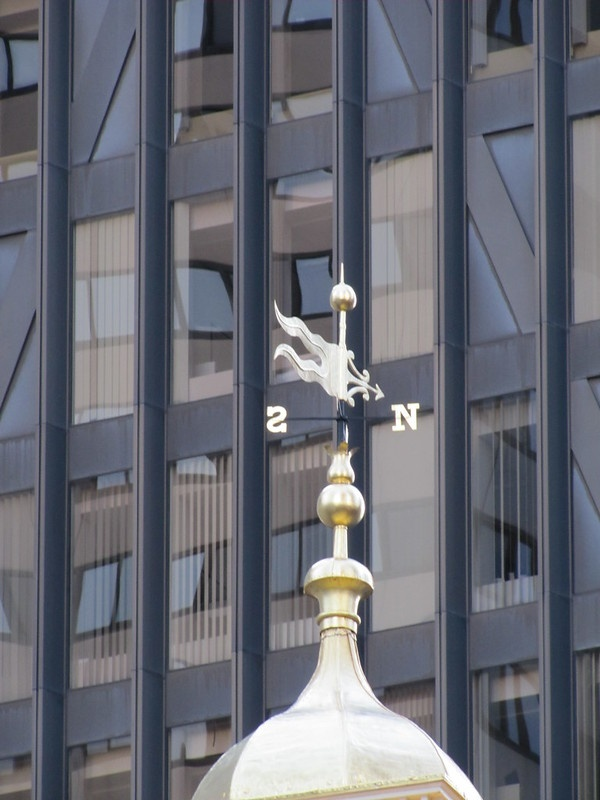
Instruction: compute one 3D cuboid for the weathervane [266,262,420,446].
[{"bbox_3d":[0.342,-0.397,27.177,1.258,2.166,0.311,2,-44,0],"label":"weathervane"}]
